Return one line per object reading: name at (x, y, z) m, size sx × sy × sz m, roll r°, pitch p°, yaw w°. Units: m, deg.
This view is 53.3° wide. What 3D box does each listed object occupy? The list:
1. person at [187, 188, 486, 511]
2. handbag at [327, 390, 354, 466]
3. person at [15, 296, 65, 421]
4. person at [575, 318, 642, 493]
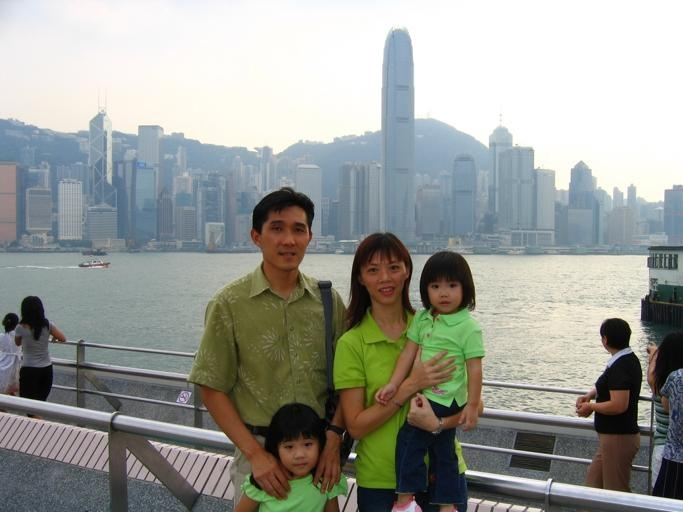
person at (-0.436, 0.481, 4.114) m, size 0.913 × 1.802 × 0.485 m, roll 1°, pitch 2°, yaw -1°
handbag at (-0.014, 1.040, 4.128) m, size 0.139 × 0.396 × 0.280 m, roll 5°, pitch -2°, yaw -15°
person at (-3.808, 1.191, 8.488) m, size 0.548 × 1.374 × 0.882 m, roll 1°, pitch 2°, yaw -17°
person at (2.437, 1.365, 6.144) m, size 0.534 × 1.567 × 0.637 m, roll 2°, pitch 2°, yaw 4°
